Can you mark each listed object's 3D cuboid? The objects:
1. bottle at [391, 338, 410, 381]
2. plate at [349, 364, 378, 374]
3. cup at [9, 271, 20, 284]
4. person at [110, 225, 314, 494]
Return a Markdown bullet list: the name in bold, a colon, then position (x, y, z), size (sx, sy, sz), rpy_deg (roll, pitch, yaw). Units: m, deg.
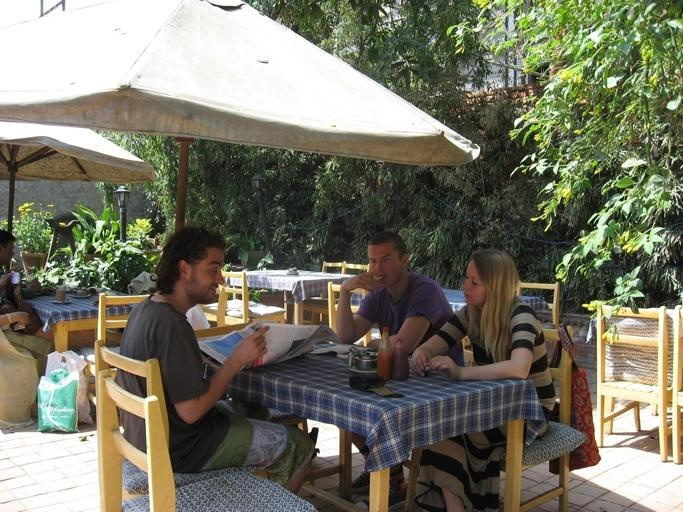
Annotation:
- **bottle**: position (0.313, 0.546, 3.342), size (0.092, 0.217, 0.071), rpy_deg (0, 0, 1)
- **plate**: position (0.108, 0.607, 3.425), size (0.187, 0.059, 0.083), rpy_deg (-1, -1, 32)
- **cup**: position (-3.015, 0.194, 5.801), size (0.068, 0.124, 0.119), rpy_deg (0, 0, -27)
- **person**: position (-0.659, 0.537, 3.195), size (0.869, 1.385, 0.490), rpy_deg (0, 0, -37)
